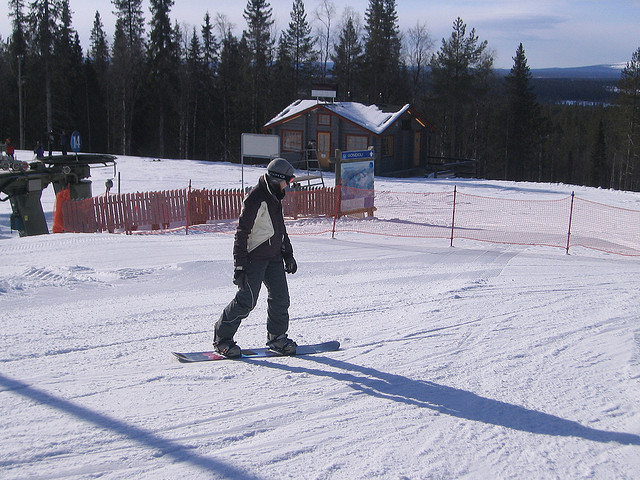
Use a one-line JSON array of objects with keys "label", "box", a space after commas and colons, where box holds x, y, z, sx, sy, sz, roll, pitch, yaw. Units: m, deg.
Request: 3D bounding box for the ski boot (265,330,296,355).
[{"label": "ski boot", "box": [-0.525, 1.385, 10.077, 0.379, 0.180, 0.212, 10, 15, 29]}]

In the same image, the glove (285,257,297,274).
[{"label": "glove", "box": [-0.400, 0.356, 10.179, 0.146, 0.242, 0.228, 0, 15, -3]}]

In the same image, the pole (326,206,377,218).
[{"label": "pole", "box": [1.142, -0.827, 22.464, 1.766, 0.273, 0.121, -8, 18, -30]}]

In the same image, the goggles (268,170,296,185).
[{"label": "goggles", "box": [-0.513, -0.845, 9.848, 0.226, 0.076, 0.180, 17, 6, -13]}]

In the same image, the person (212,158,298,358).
[{"label": "person", "box": [-0.844, 0.254, 9.908, 1.144, 2.609, 0.604, -4, 15, -16]}]

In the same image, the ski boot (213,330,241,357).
[{"label": "ski boot", "box": [-1.241, 1.418, 9.902, 0.417, 0.194, 0.171, 6, 8, 38]}]
